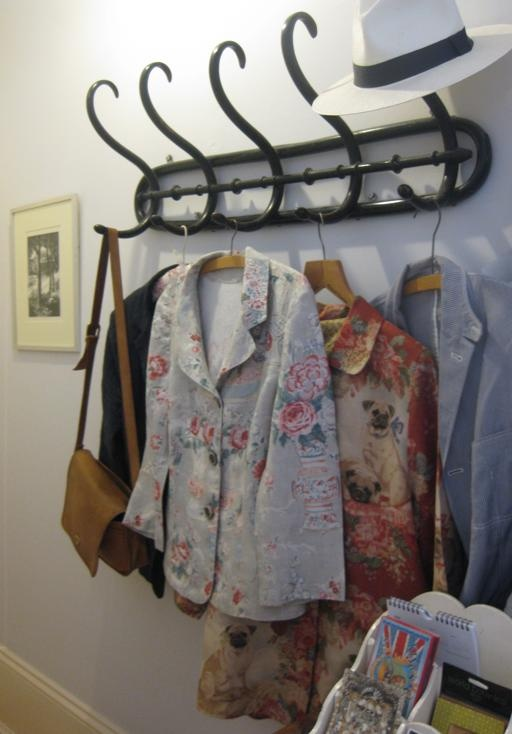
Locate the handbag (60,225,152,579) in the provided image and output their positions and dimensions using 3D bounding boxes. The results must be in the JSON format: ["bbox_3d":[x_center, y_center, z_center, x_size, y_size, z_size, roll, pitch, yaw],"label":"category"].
[{"bbox_3d":[-0.308,0.125,1.199,0.150,0.773,0.335,-3,10,-18],"label":"handbag"}]

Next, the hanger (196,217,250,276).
[{"bbox_3d":[-0.057,-0.217,1.106,0.007,0.141,0.146,7,1,-40],"label":"hanger"}]

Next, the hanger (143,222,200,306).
[{"bbox_3d":[-0.150,-0.187,1.165,0.102,0.023,0.229,-1,50,8],"label":"hanger"}]

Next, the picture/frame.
[{"bbox_3d":[-0.526,-0.243,1.569,0.018,0.501,0.397,-3,5,-44],"label":"picture/frame"}]
